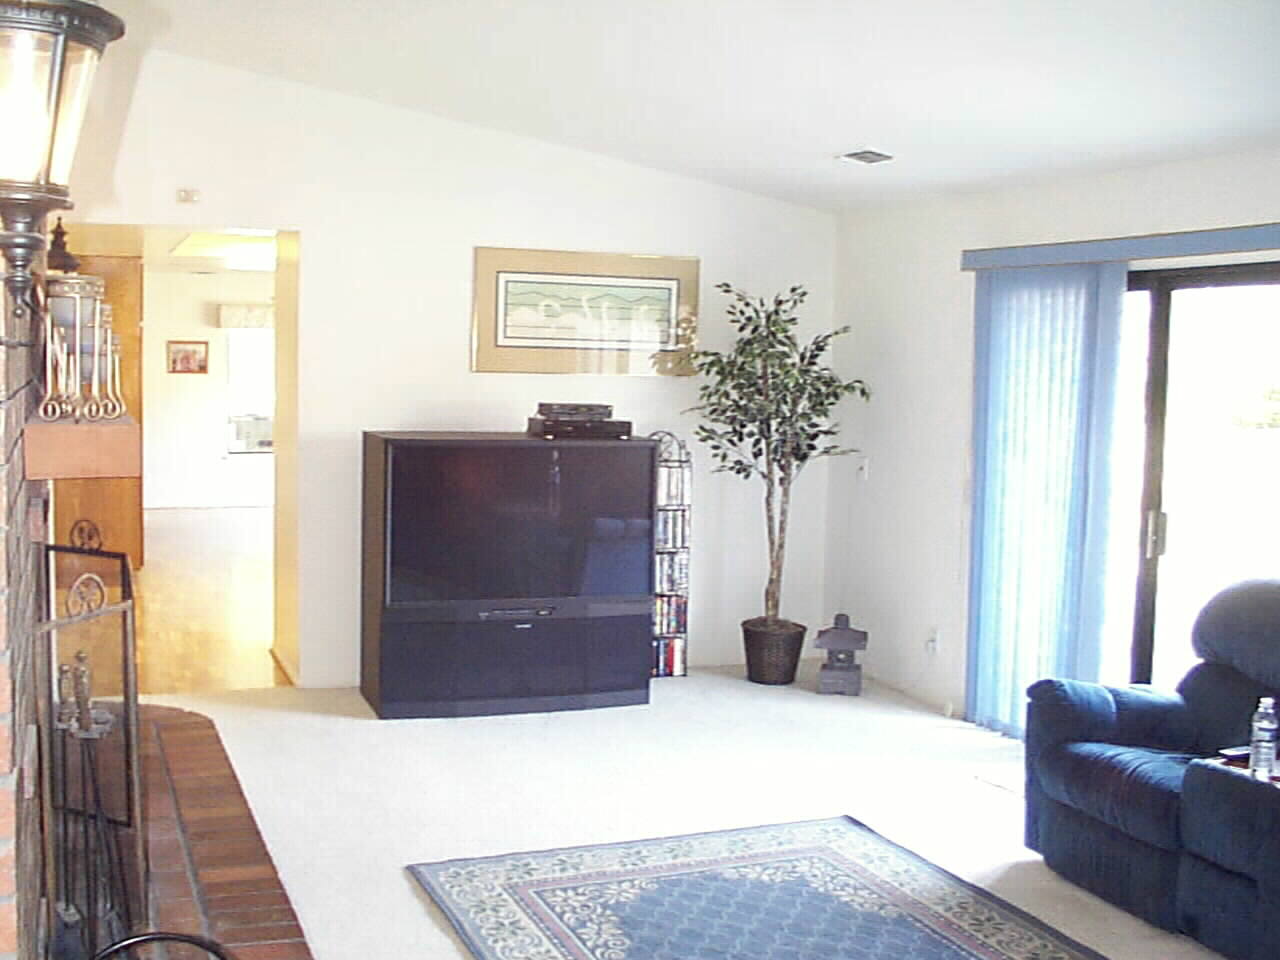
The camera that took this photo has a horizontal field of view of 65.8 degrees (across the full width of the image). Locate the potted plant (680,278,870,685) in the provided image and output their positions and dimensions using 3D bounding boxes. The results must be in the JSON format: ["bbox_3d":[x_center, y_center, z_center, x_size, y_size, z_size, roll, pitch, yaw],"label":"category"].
[{"bbox_3d":[0.903,-0.009,6.478,1.173,2.573,0.804,1,7,-4],"label":"potted plant"}]

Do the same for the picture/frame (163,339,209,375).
[{"bbox_3d":[-6.366,-1.719,13.781,0.537,0.481,0.053,0,0,-17],"label":"picture/frame"}]

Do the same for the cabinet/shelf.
[{"bbox_3d":[-0.785,0.506,5.529,1.693,1.510,0.672,0,3,-15],"label":"cabinet/shelf"}]
